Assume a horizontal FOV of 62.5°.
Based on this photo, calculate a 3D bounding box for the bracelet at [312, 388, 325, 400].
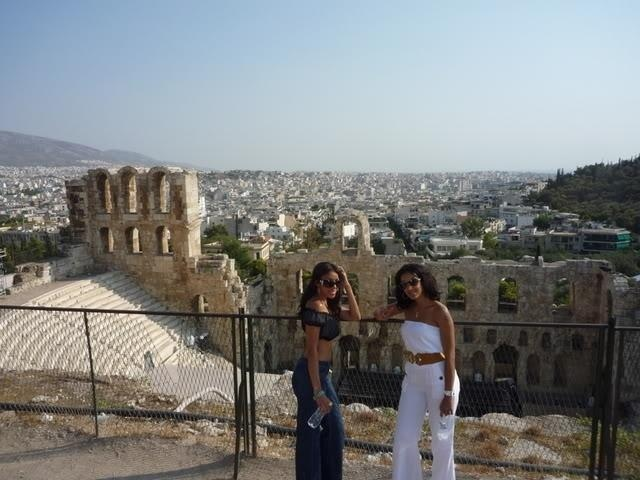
[{"bbox_3d":[-0.017,1.895,6.508,0.138,0.095,0.152,8,-21,-39],"label":"bracelet"}]

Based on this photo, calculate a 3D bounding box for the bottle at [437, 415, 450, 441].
[{"bbox_3d":[1.514,2.270,6.373,0.167,0.316,0.050,0,6,-5],"label":"bottle"}]

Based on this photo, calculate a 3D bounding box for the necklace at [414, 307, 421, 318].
[{"bbox_3d":[1.222,0.913,6.567,0.067,0.101,0.057,13,6,40],"label":"necklace"}]

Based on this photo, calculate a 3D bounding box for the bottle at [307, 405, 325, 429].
[{"bbox_3d":[-0.051,2.221,6.583,0.200,0.288,0.178,0,6,-7],"label":"bottle"}]

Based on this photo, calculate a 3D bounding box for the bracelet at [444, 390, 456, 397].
[{"bbox_3d":[1.549,1.823,6.332,0.102,0.069,0.109,1,-2,17],"label":"bracelet"}]
